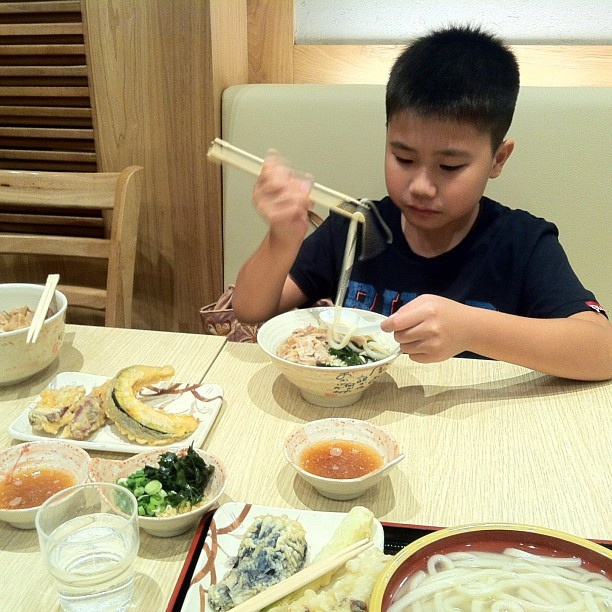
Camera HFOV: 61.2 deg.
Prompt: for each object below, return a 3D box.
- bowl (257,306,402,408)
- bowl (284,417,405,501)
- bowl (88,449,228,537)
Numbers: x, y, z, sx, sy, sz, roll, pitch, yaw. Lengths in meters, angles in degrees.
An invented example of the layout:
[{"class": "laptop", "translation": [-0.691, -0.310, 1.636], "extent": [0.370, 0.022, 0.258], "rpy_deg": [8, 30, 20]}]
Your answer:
[{"class": "bowl", "translation": [0.050, 0.070, 1.245], "extent": [0.404, 0.212, 0.437], "rpy_deg": [2, 13, 0]}, {"class": "bowl", "translation": [0.080, 0.228, 0.933], "extent": [0.237, 0.111, 0.183], "rpy_deg": [3, 12, 9]}, {"class": "bowl", "translation": [-0.220, 0.267, 0.875], "extent": [0.242, 0.106, 0.190], "rpy_deg": [1, 14, -3]}]
